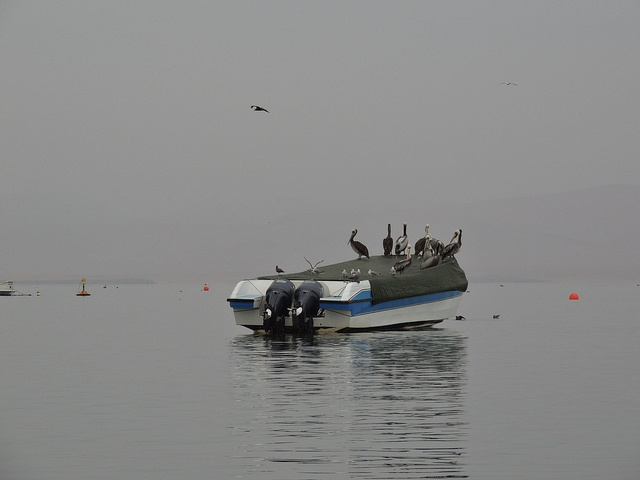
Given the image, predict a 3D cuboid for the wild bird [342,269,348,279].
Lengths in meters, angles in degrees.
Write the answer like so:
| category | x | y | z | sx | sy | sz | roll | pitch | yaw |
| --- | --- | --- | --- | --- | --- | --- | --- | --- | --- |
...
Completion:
| category | x | y | z | sx | sy | sz | roll | pitch | yaw |
| --- | --- | --- | --- | --- | --- | --- | --- | --- | --- |
| wild bird | 1.077 | 1.441 | 61.028 | 0.231 | 0.307 | 0.116 | -2 | 0 | -9 |
